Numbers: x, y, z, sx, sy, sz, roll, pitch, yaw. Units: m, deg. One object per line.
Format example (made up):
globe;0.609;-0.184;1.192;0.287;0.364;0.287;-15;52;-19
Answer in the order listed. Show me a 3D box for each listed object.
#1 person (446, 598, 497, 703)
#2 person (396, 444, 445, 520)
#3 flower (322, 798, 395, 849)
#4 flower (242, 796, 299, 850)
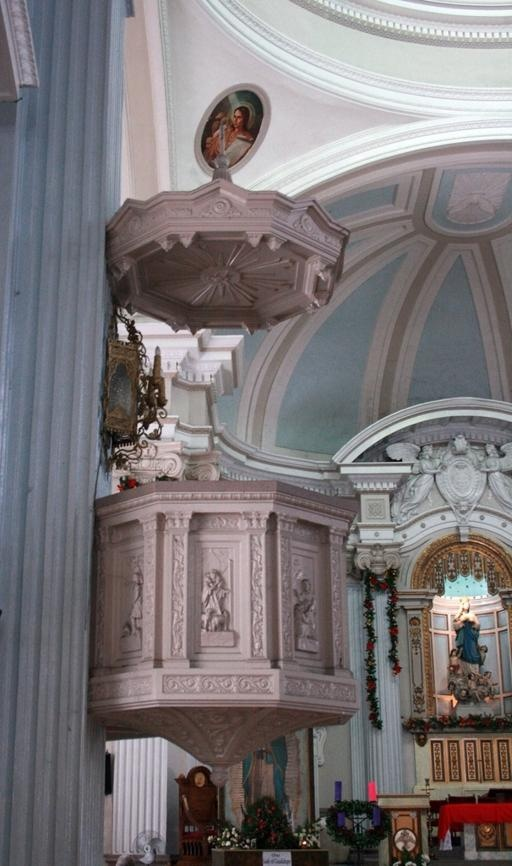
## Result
person;2.492;2.614;12.623;0.564;1.182;0.546;-9;-10;3
person;1.925;0.614;12.833;0.697;0.891;0.175;-7;-10;-9
flower;0.960;3.745;10.140;0.657;0.251;0.741;-1;-26;6
flower;0.074;2.550;6.936;0.270;0.301;0.272;-6;-36;8
